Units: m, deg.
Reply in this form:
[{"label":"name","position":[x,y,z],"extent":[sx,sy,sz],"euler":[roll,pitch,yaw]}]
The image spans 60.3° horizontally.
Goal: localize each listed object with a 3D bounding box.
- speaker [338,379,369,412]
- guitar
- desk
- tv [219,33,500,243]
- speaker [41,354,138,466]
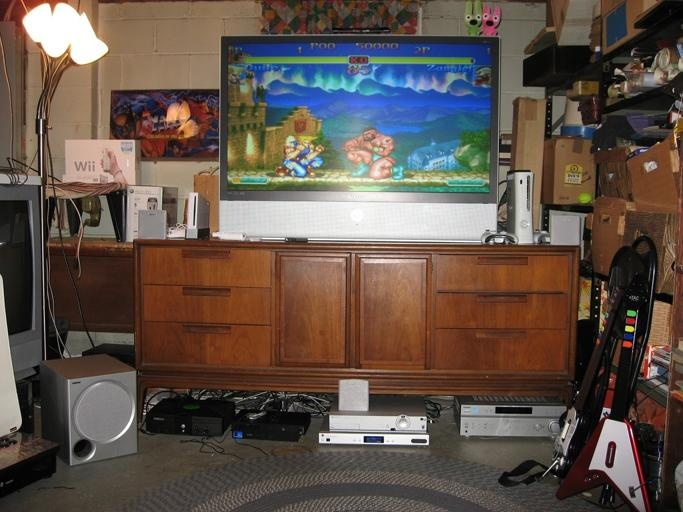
[{"label":"speaker","position":[0.107,0.812,3.437],"extent":[0.227,0.171,0.222],"euler":[-9,-15,39]},{"label":"guitar","position":[1.263,0.660,2.709],"extent":[0.398,1.032,0.396],"euler":[7,14,27]},{"label":"desk","position":[-1.897,0.245,4.274],"extent":[0.406,0.636,0.724],"euler":[3,-1,38]},{"label":"tv","position":[0.170,-0.755,3.676],"extent":[1.382,0.957,0.060],"euler":[1,2,6]},{"label":"speaker","position":[-1.365,0.845,3.298],"extent":[0.509,0.496,0.509],"euler":[0,2,-38]}]
